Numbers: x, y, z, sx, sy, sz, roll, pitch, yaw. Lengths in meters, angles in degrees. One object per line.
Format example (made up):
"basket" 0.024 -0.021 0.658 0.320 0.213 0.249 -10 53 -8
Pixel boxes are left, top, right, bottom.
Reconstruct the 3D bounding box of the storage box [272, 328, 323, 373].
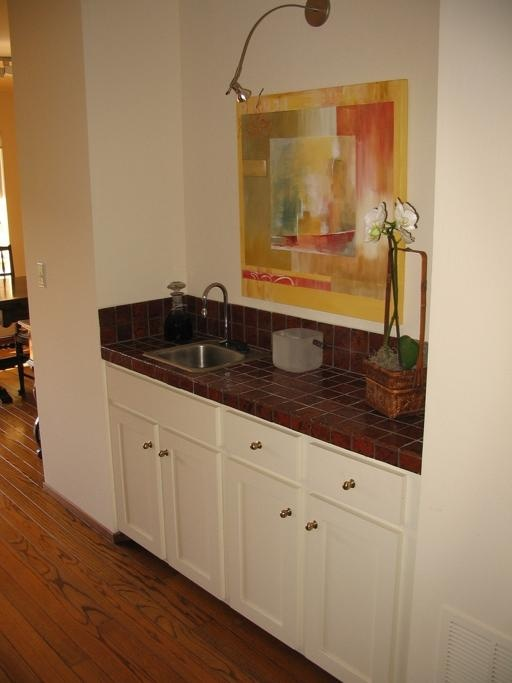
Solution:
"storage box" 0.136 0.027 2.053 0.182 0.137 0.212 -8 13 -31

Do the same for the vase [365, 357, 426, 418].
"vase" 0.386 0.120 1.566 0.143 0.108 0.143 -7 12 -34

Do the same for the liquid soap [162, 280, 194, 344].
"liquid soap" -0.347 -0.142 2.564 0.129 0.250 0.292 -2 11 -7
